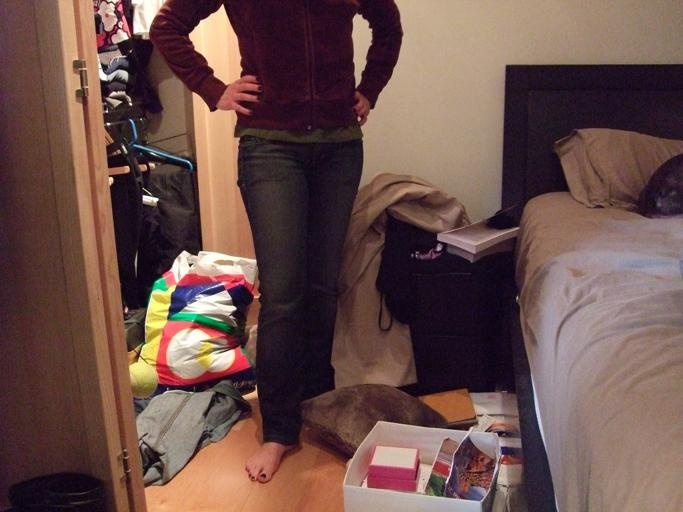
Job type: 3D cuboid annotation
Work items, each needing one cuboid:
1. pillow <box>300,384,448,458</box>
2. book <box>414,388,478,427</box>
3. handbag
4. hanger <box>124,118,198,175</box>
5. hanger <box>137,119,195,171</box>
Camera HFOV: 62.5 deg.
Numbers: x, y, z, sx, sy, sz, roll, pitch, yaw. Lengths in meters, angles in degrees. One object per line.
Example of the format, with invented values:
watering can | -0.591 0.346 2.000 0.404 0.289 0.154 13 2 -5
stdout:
pillow | 0.085 0.472 1.905 0.301 0.160 0.286 2 15 -44
book | 0.408 0.558 2.078 0.117 0.031 0.122 -8 16 -7
handbag | -0.612 0.263 2.367 0.511 0.620 0.321 -2 -13 8
hanger | -0.819 -0.485 2.509 0.253 0.178 0.112 17 -10 -18
hanger | -0.827 -0.487 2.539 0.373 0.095 0.111 15 -27 -20
